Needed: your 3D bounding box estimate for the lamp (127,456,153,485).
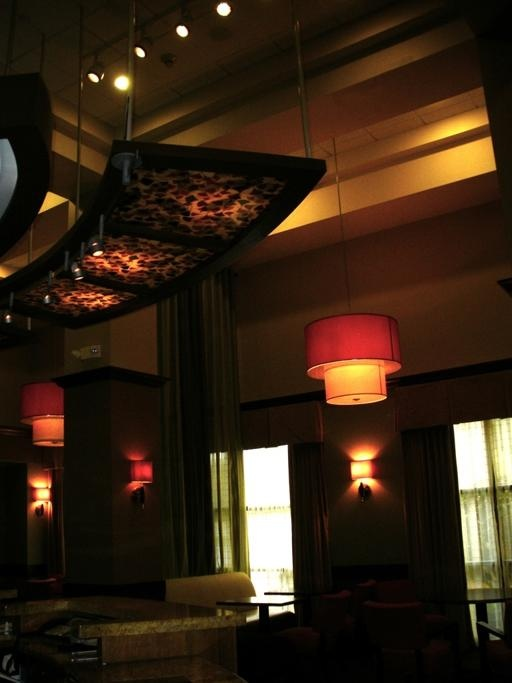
[{"bbox_3d":[-1.252,1.372,7.286,0.153,0.272,0.280,-18,-22,39],"label":"lamp"}]
